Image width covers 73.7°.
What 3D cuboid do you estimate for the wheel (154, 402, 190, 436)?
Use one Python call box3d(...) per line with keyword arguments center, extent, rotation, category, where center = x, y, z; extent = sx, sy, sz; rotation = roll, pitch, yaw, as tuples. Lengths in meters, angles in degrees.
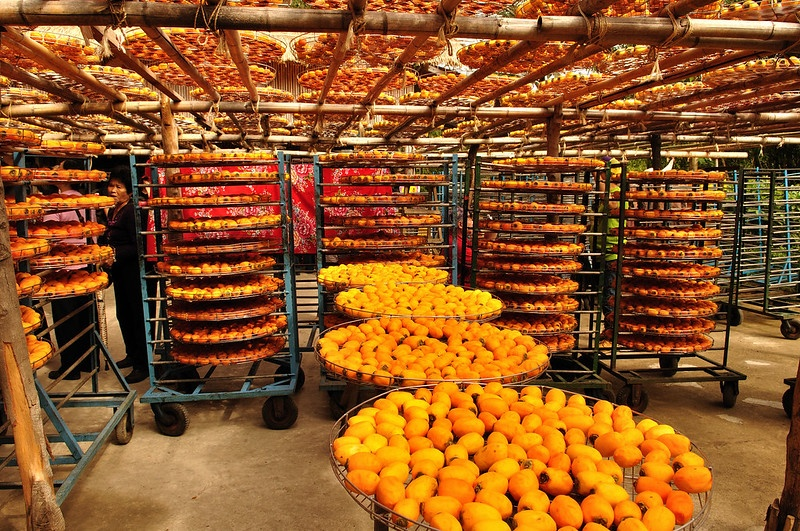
box3d(center=(-2.344, 1.610, 5.586), extent=(0.493, 0.316, 0.230), rotation=(-1, -8, 28), category="wheel")
